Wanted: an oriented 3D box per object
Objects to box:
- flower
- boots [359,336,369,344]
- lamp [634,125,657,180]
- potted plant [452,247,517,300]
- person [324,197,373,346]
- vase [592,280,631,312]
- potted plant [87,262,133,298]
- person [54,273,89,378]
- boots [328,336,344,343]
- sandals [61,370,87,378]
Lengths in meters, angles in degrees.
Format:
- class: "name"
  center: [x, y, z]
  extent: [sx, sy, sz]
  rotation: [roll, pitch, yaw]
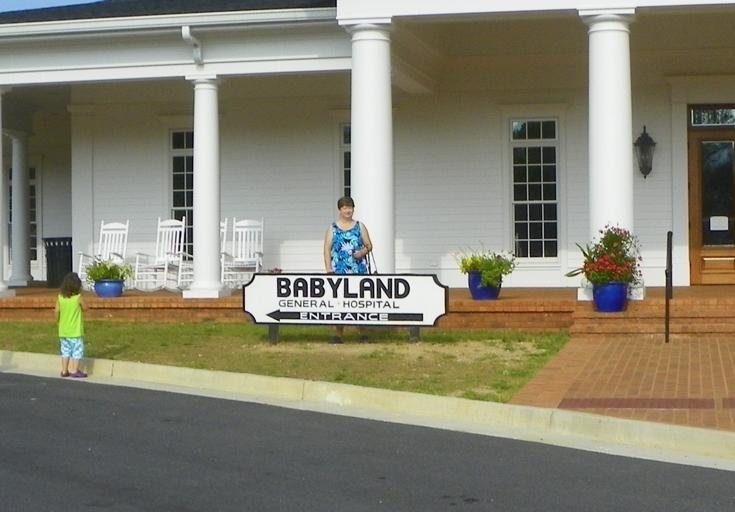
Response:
- class: "flower"
  center: [3.758, -0.023, 15.361]
  extent: [1.104, 0.820, 1.056]
  rotation: [-18, -8, -14]
- class: "boots"
  center: [-0.037, 1.285, 14.631]
  extent: [0.098, 0.107, 0.104]
  rotation: [-1, -5, -5]
- class: "lamp"
  center: [5.552, -2.096, 19.119]
  extent: [0.428, 1.060, 0.189]
  rotation: [2, 9, 18]
- class: "potted plant"
  center: [2.125, 0.317, 17.087]
  extent: [0.782, 0.889, 0.897]
  rotation: [-1, 4, -45]
- class: "person"
  center: [-0.292, -0.319, 14.274]
  extent: [0.683, 1.147, 0.339]
  rotation: [-2, 9, -3]
- class: "vase"
  center: [3.868, 0.650, 15.330]
  extent: [0.436, 0.391, 0.474]
  rotation: [1, -6, -1]
- class: "potted plant"
  center: [-4.866, 0.428, 18.150]
  extent: [0.649, 0.622, 0.706]
  rotation: [0, -3, 30]
- class: "person"
  center: [-4.073, 0.959, 13.150]
  extent: [0.371, 1.410, 0.607]
  rotation: [-4, 9, -18]
- class: "boots"
  center: [-0.447, 1.278, 14.589]
  extent: [0.094, 0.097, 0.209]
  rotation: [-3, -7, 42]
- class: "sandals"
  center: [-3.990, 1.627, 13.023]
  extent: [0.247, 0.115, 0.138]
  rotation: [-2, -4, 4]
